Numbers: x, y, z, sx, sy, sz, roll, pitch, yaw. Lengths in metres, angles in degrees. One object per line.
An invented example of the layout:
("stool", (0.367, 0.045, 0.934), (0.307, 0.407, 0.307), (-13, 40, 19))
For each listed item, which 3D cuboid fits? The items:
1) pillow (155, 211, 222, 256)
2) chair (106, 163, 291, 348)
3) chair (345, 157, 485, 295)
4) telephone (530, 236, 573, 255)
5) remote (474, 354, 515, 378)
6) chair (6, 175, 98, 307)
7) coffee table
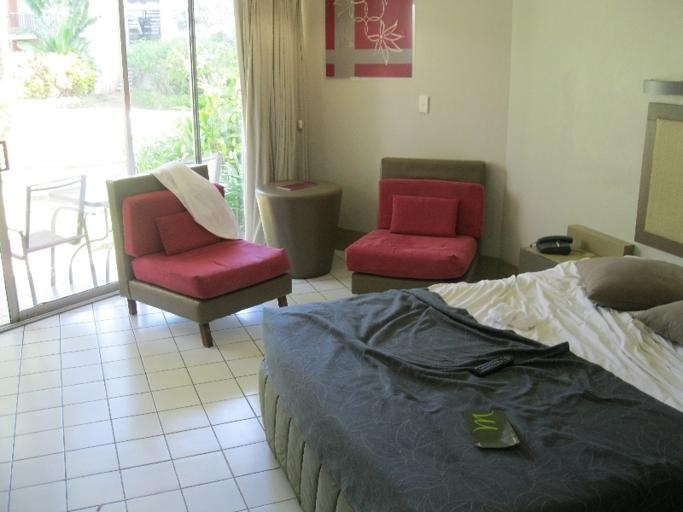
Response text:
("pillow", (-1.236, -0.171, 4.053), (0.105, 0.316, 0.414), (-22, -3, 36))
("chair", (-1.039, -0.202, 4.358), (1.380, 1.412, 1.181), (14, 23, 33))
("chair", (0.643, -0.237, 4.518), (1.130, 1.207, 1.195), (4, 15, 22))
("telephone", (1.522, -0.081, 3.770), (0.196, 0.076, 0.146), (-2, 15, 14))
("remote", (0.668, 0.480, 2.318), (0.155, 0.038, 0.080), (-16, 23, -28))
("chair", (-2.279, -0.136, 4.071), (0.626, 1.055, 0.620), (-20, 36, -39))
("coffee table", (-0.430, -0.260, 5.045), (0.788, 0.747, 0.847), (-3, 12, -9))
